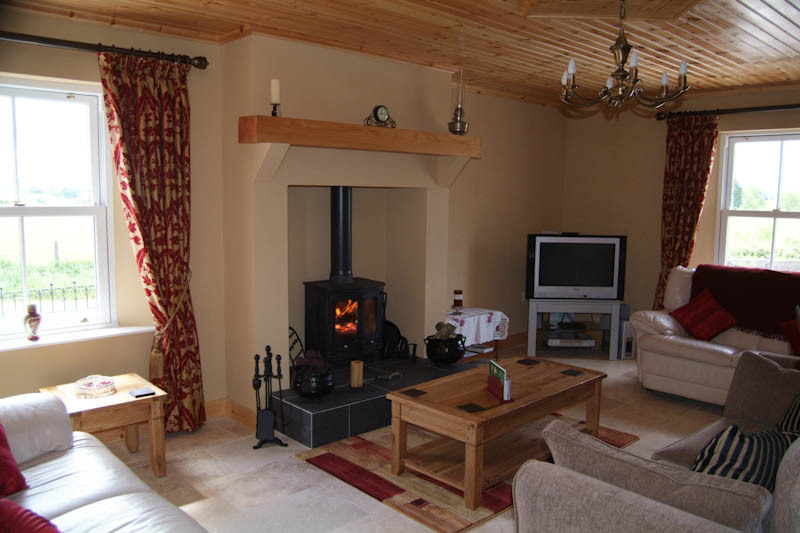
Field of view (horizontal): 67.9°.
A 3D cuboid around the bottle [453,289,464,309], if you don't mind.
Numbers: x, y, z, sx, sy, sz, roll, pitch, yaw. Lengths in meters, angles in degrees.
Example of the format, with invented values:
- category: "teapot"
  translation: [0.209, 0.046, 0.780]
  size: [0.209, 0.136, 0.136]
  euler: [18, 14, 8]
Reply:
- category: "bottle"
  translation: [0.721, 0.395, 7.355]
  size: [0.131, 0.222, 0.302]
  euler: [-1, 6, 4]

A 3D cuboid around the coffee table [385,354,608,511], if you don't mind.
- category: "coffee table"
  translation: [0.854, 1.306, 5.165]
  size: [0.998, 0.671, 1.797]
  euler: [5, 8, 44]

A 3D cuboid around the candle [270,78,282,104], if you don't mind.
- category: "candle"
  translation: [-1.074, -1.487, 5.130]
  size: [0.085, 0.215, 0.267]
  euler: [-3, 6, -11]

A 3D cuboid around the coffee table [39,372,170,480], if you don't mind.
- category: "coffee table"
  translation: [-2.395, 1.272, 4.864]
  size: [0.891, 0.733, 0.873]
  euler: [-4, 4, -41]

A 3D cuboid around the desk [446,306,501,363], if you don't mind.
- category: "desk"
  translation: [0.899, 0.833, 7.236]
  size: [0.975, 0.669, 0.319]
  euler: [-6, 8, -37]

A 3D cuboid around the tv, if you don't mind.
- category: "tv"
  translation: [2.327, -0.002, 7.911]
  size: [1.346, 0.832, 0.726]
  euler: [1, 9, 11]

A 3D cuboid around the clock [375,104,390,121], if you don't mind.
- category: "clock"
  translation: [-0.177, -1.450, 5.664]
  size: [0.071, 0.160, 0.152]
  euler: [4, 8, 39]
